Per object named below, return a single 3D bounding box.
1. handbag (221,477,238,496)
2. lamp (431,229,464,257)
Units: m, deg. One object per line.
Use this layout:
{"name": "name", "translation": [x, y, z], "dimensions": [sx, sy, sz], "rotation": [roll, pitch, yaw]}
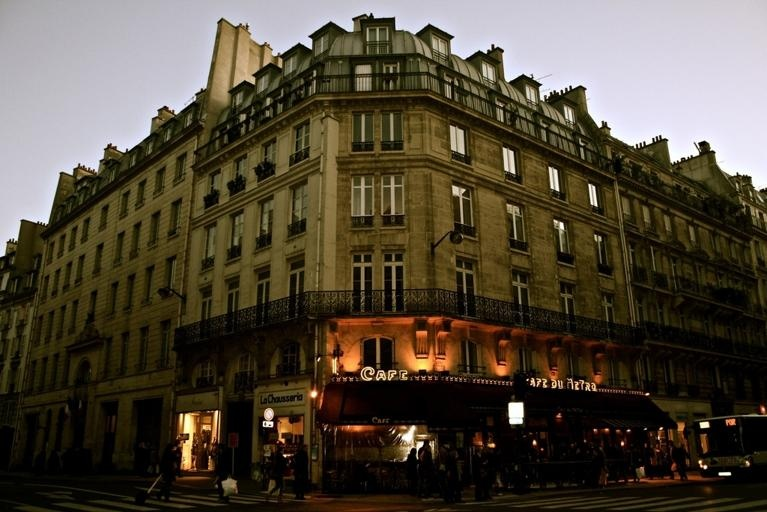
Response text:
{"name": "handbag", "translation": [-6.639, 9.912, 28.117], "dimensions": [0.539, 0.708, 0.652], "rotation": [2, -24, -9]}
{"name": "lamp", "translation": [3.295, -0.932, 34.258], "dimensions": [1.908, 1.163, 1.078], "rotation": [-13, -18, 39]}
